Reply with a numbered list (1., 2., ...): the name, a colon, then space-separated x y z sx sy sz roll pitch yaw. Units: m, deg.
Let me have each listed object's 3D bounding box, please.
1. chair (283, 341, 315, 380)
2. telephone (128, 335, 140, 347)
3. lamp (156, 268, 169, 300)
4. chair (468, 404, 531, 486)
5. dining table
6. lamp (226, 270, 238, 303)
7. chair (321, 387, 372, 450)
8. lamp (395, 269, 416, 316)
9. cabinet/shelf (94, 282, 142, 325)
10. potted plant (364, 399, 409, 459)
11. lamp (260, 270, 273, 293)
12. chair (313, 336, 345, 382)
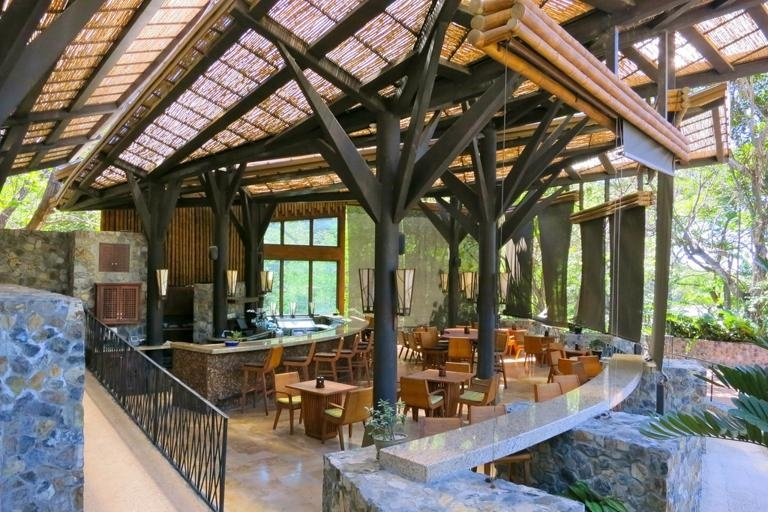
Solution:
1. chair: -1.969 2.532 12.865 0.733 1.014 0.665 -1 -1 11
2. telephone: -7.174 2.440 15.789 0.304 0.288 0.544 0 -8 -26
3. lamp: -6.378 0.813 15.830 0.263 0.849 0.647 -2 -7 -11
4. chair: 1.755 2.827 8.159 0.781 1.208 1.112 -6 -7 20
5. dining table: -1.138 2.910 10.513 1.101 1.032 1.092 3 -3 -41
6. lamp: -4.669 0.877 16.834 0.246 0.886 2.018 -1 -7 -14
7. chair: -0.664 2.916 9.918 0.677 1.052 0.776 3 -2 -39
8. lamp: 0.338 0.564 8.945 0.309 0.774 0.444 -3 -7 1
9. cabinet/shelf: -7.561 1.342 15.474 1.244 1.229 0.513 2 -2 -35
10. potted plant: 0.051 2.297 7.285 0.574 0.708 0.485 -1 -19 -10
11. lamp: -3.679 0.794 17.148 0.340 0.643 0.391 -3 -7 0
12. chair: -1.353 2.534 13.261 0.769 1.051 0.655 2 -3 -19
